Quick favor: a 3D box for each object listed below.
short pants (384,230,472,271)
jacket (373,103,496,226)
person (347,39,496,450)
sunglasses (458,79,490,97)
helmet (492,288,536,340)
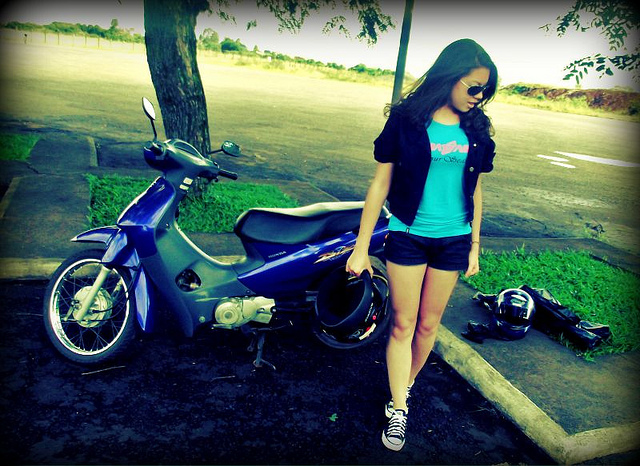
[{"bbox_3d":[0.807,0.124,3.790,0.619,0.262,0.169,5,23,-3],"label":"short pants"},{"bbox_3d":[0.798,-0.490,3.739,0.823,0.827,0.447,11,24,10],"label":"jacket"},{"bbox_3d":[0.719,0.114,3.854,0.888,3.014,1.045,18,26,23],"label":"person"},{"bbox_3d":[1.099,-1.010,3.585,0.144,0.047,0.154,-9,43,-25],"label":"sunglasses"},{"bbox_3d":[2.066,0.827,5.380,0.434,0.465,0.540,5,13,15],"label":"helmet"}]
